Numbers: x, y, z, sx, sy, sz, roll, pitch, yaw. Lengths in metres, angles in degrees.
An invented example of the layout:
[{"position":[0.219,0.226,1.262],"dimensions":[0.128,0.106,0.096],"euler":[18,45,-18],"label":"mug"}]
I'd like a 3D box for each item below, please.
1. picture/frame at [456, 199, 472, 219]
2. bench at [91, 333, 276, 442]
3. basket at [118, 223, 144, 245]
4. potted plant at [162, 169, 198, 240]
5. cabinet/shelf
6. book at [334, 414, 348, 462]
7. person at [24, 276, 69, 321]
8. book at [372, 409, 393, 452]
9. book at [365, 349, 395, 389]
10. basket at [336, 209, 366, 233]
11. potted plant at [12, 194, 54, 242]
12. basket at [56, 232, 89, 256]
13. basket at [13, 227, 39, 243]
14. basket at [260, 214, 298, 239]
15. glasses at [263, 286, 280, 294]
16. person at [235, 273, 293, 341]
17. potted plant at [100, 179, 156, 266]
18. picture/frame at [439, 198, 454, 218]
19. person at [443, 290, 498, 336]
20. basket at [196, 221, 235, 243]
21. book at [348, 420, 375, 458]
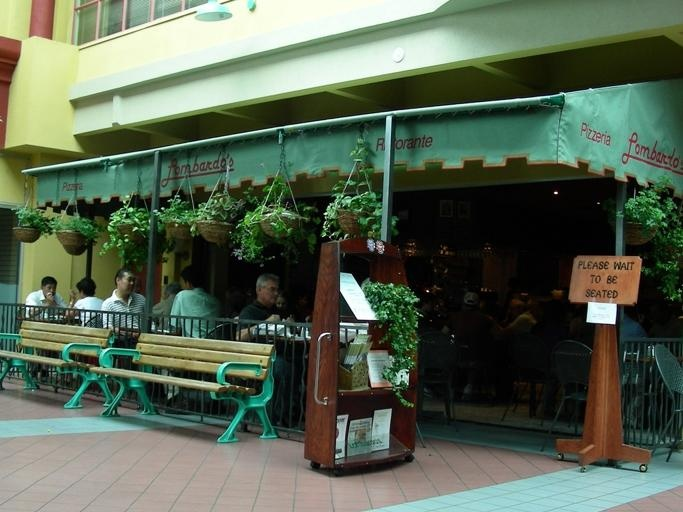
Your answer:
[{"position":[2.643,-1.041,13.939],"dimensions":[0.454,0.391,0.042],"euler":[1,-1,-43],"label":"picture/frame"},{"position":[-1.787,1.524,7.775],"dimensions":[2.451,1.131,1.009],"euler":[1,-2,37],"label":"bench"},{"position":[-3.111,-0.344,9.574],"dimensions":[0.433,0.278,0.240],"euler":[1,-2,41],"label":"basket"},{"position":[-2.653,-0.723,10.411],"dimensions":[0.504,0.985,3.523],"euler":[2,-1,-14],"label":"potted plant"},{"position":[0.187,0.959,6.438],"dimensions":[1.063,2.263,0.587],"euler":[3,-2,-44],"label":"cabinet/shelf"},{"position":[0.012,1.706,6.124],"dimensions":[0.066,0.414,0.245],"euler":[1,-2,20],"label":"book"},{"position":[-5.427,0.771,11.770],"dimensions":[0.580,0.931,0.511],"euler":[5,-23,-36],"label":"person"},{"position":[0.410,1.759,6.524],"dimensions":[0.024,0.528,0.412],"euler":[-4,-6,37],"label":"book"},{"position":[0.401,1.120,6.481],"dimensions":[0.330,0.308,0.076],"euler":[5,-19,-30],"label":"book"},{"position":[0.106,-0.398,7.362],"dimensions":[0.252,0.208,0.274],"euler":[3,-4,-42],"label":"basket"},{"position":[-5.182,-0.552,10.865],"dimensions":[0.502,0.449,0.712],"euler":[3,-2,-41],"label":"potted plant"},{"position":[-4.426,-0.183,10.653],"dimensions":[0.462,0.317,0.427],"euler":[0,-3,-10],"label":"basket"},{"position":[-5.275,-0.370,10.824],"dimensions":[0.316,0.171,0.306],"euler":[6,-5,-26],"label":"basket"},{"position":[-0.751,-0.383,7.885],"dimensions":[0.475,0.298,0.348],"euler":[2,-1,-7],"label":"basket"},{"position":[-0.890,0.439,8.248],"dimensions":[0.127,0.156,0.140],"euler":[-4,-4,40],"label":"glasses"},{"position":[-1.116,0.718,9.108],"dimensions":[0.519,0.695,0.858],"euler":[-5,-5,33],"label":"person"},{"position":[-3.563,-0.464,10.650],"dimensions":[0.607,1.206,3.114],"euler":[2,-1,-20],"label":"potted plant"},{"position":[2.215,-1.048,13.622],"dimensions":[0.404,0.432,0.045],"euler":[1,3,-30],"label":"picture/frame"},{"position":[2.167,0.956,10.785],"dimensions":[0.862,0.689,0.459],"euler":[1,-1,10],"label":"person"},{"position":[-1.711,-0.336,8.683],"dimensions":[0.480,0.275,0.428],"euler":[2,-1,-13],"label":"basket"},{"position":[0.185,1.786,6.315],"dimensions":[0.396,0.368,0.028],"euler":[-1,1,-45],"label":"book"}]
